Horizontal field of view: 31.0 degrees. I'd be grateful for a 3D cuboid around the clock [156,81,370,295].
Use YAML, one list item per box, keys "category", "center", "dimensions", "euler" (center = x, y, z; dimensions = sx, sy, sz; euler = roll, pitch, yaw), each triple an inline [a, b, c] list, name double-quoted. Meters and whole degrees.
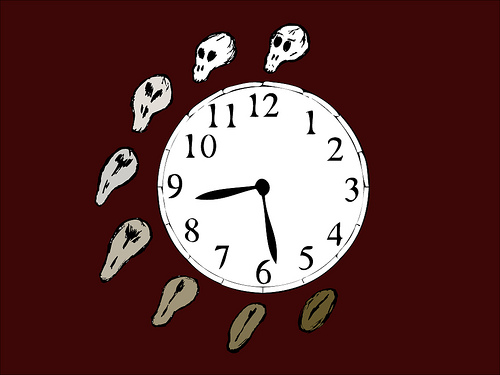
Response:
- category: "clock"
  center: [0.059, -0.006, 3.700]
  dimensions: [0.818, 0.827, 0.954]
  euler: [-1, 66, 9]
